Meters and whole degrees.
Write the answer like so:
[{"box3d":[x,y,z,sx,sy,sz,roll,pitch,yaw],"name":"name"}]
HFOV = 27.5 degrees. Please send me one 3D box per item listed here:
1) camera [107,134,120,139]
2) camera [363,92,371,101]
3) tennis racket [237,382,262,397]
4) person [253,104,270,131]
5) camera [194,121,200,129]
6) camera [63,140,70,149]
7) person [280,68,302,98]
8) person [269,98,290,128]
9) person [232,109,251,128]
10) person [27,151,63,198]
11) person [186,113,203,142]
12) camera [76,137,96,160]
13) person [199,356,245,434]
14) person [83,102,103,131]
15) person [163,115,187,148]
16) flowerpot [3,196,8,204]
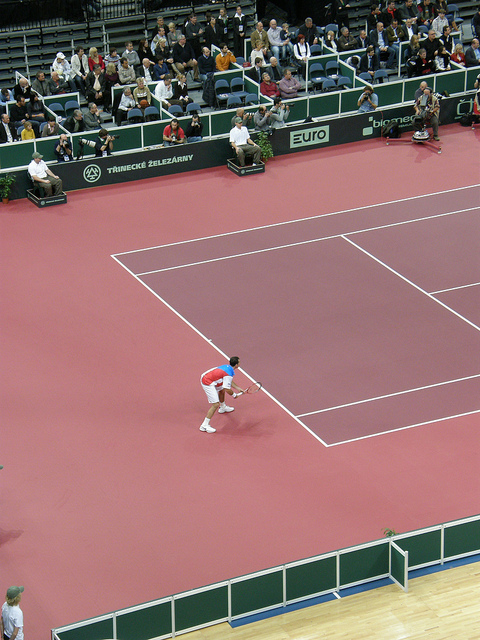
[{"box3d":[-3.405,-4.960,26.317,0.165,0.147,0.380,6,20,28],"name":"camera"},{"box3d":[3.739,-6.692,29.124,0.254,0.253,0.179,8,23,32],"name":"camera"},{"box3d":[0.151,1.296,17.998,0.585,0.153,0.043,-27,6,-34],"name":"tennis racket"},{"box3d":[0.605,-5.759,27.670,0.416,0.735,0.737,-12,20,-21],"name":"person"},{"box3d":[-1.194,-5.425,27.035,0.130,0.235,0.245,-5,18,-1],"name":"camera"},{"box3d":[-4.526,-4.615,25.442,0.115,0.216,0.285,-11,28,9],"name":"camera"},{"box3d":[1.463,-7.181,29.567,0.509,0.791,0.544,2,20,17],"name":"person"},{"box3d":[1.085,-5.956,27.974,0.604,1.028,0.484,7,48,20],"name":"person"},{"box3d":[-0.059,-5.685,27.193,0.552,0.382,0.895,1,-16,10],"name":"person"},{"box3d":[-4.985,-3.682,24.990,0.840,1.210,0.591,19,39,16],"name":"person"},{"box3d":[-1.287,-5.362,27.154,0.399,0.769,0.502,-6,19,-5],"name":"person"},{"box3d":[-4.132,-4.652,26.132,0.571,0.557,0.381,-9,20,-14],"name":"camera"},{"box3d":[-0.316,1.358,17.096,0.892,1.217,0.594,-4,53,-13],"name":"person"},{"box3d":[-4.062,-5.595,26.745,0.452,0.697,0.691,-7,19,-7],"name":"person"},{"box3d":[-1.800,-5.199,26.910,0.822,1.154,0.766,-2,48,-6],"name":"person"},{"box3d":[-6.048,-3.111,25.321,0.126,0.118,0.118,5,23,8],"name":"flowerpot"}]
